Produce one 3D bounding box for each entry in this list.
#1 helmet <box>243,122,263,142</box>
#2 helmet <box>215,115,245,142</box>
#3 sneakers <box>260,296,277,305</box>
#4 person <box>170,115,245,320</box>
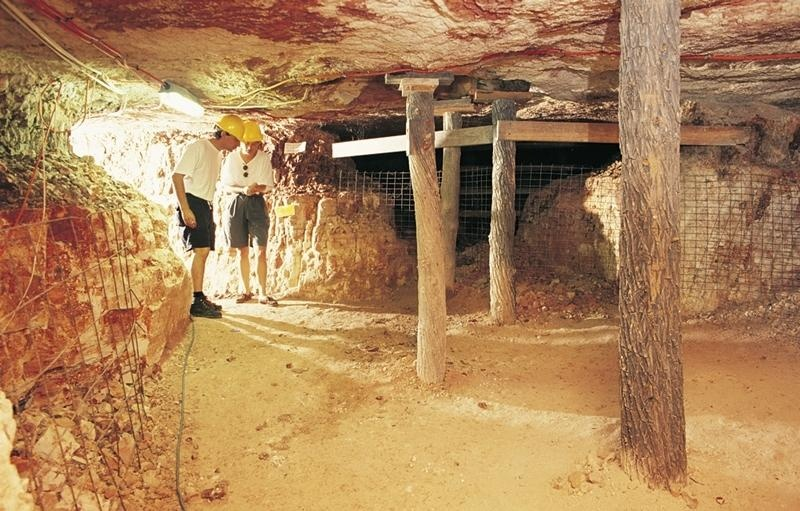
[{"bbox_3d":[-2.051,-1.728,8.390,0.312,0.187,0.370,-3,14,-11],"label":"helmet"},{"bbox_3d":[-2.203,-1.680,7.921,0.376,0.200,0.282,24,17,-29],"label":"helmet"},{"bbox_3d":[-1.954,0.668,9.032,0.247,0.081,0.144,12,-17,-10],"label":"sneakers"},{"bbox_3d":[-2.521,-0.517,7.904,0.569,2.655,0.840,8,10,38],"label":"person"}]
